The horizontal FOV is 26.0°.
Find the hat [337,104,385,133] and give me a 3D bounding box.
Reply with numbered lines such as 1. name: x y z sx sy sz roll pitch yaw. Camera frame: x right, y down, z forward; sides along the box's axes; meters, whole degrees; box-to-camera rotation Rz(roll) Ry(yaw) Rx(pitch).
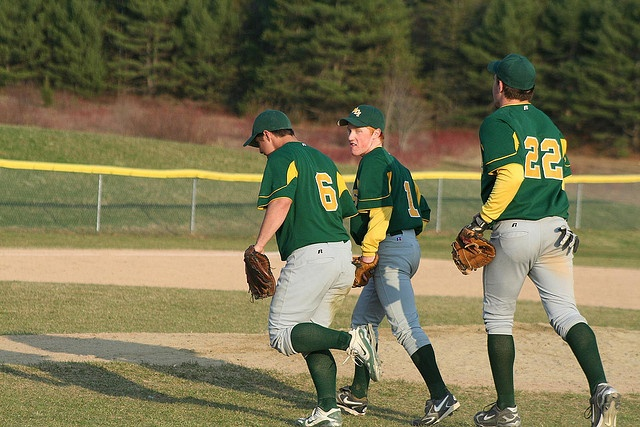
1. hat: 1.397 -3.129 45.187 1.198 0.671 0.884 4 4 -10
